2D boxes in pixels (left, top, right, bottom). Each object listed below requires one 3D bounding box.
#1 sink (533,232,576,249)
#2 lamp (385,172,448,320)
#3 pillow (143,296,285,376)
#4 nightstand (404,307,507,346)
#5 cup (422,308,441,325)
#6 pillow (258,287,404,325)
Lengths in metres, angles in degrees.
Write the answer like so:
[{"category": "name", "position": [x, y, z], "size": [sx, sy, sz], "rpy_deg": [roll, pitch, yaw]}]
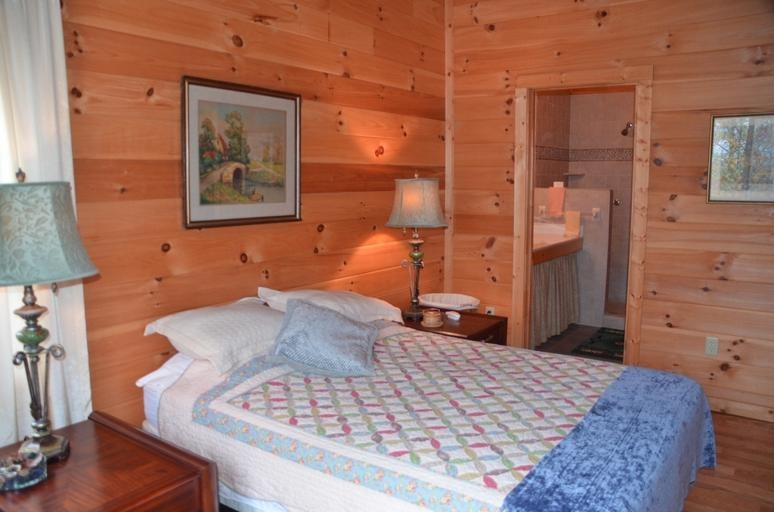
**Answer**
[{"category": "sink", "position": [1.860, -0.179, 6.007], "size": [0.346, 0.078, 0.370], "rpy_deg": [-10, 13, -40]}, {"category": "lamp", "position": [0.225, -0.077, 4.315], "size": [0.453, 1.112, 0.661], "rpy_deg": [0, 11, 1]}, {"category": "pillow", "position": [-0.854, 0.409, 2.930], "size": [0.498, 0.112, 0.467], "rpy_deg": [14, 22, 36]}, {"category": "nightstand", "position": [0.605, 0.533, 3.991], "size": [0.406, 0.216, 0.413], "rpy_deg": [8, 14, 34]}, {"category": "cup", "position": [0.333, 0.466, 3.962], "size": [0.130, 0.068, 0.113], "rpy_deg": [0, -1, -1]}, {"category": "pillow", "position": [-0.285, 0.316, 3.446], "size": [0.586, 0.086, 0.378], "rpy_deg": [5, 5, -43]}]
